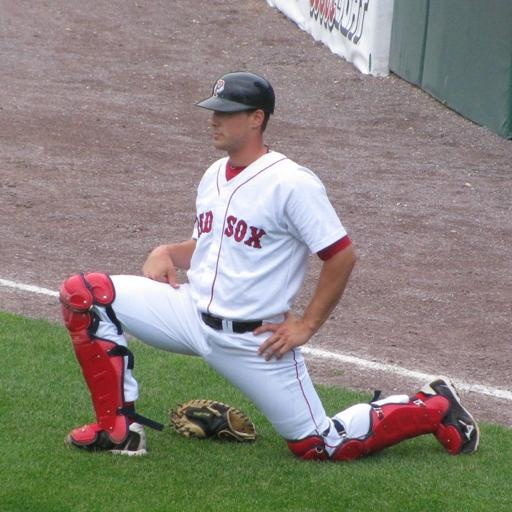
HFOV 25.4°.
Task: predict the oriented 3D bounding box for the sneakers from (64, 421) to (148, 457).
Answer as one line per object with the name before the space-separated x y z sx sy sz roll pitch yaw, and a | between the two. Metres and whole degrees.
sneakers | -0.843 1.031 6.565 0.491 0.200 0.179 10 -4 -3

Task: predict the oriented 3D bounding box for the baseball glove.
baseball glove | -0.261 0.984 6.752 0.367 0.124 0.253 10 -9 23

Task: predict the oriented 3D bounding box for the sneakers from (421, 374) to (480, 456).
sneakers | 1.205 0.983 6.804 0.243 0.489 0.217 -25 -6 18

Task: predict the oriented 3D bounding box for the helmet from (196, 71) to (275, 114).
helmet | -0.076 -0.905 6.351 0.355 0.167 0.253 0 14 -8
